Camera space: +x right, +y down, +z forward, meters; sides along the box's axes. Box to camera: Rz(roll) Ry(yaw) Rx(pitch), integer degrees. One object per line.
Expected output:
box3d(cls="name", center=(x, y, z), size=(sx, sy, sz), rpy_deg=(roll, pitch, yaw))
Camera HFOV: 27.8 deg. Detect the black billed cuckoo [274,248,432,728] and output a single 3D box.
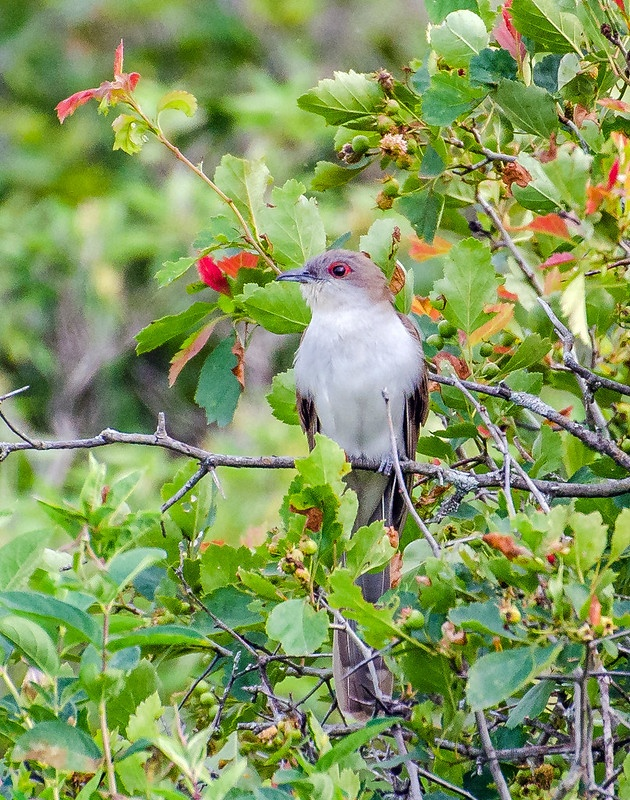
box3d(cls="black billed cuckoo", center=(0.152, 0.219, 4.658), size=(0.456, 1.527, 0.659), rpy_deg=(-3, -1, 9))
